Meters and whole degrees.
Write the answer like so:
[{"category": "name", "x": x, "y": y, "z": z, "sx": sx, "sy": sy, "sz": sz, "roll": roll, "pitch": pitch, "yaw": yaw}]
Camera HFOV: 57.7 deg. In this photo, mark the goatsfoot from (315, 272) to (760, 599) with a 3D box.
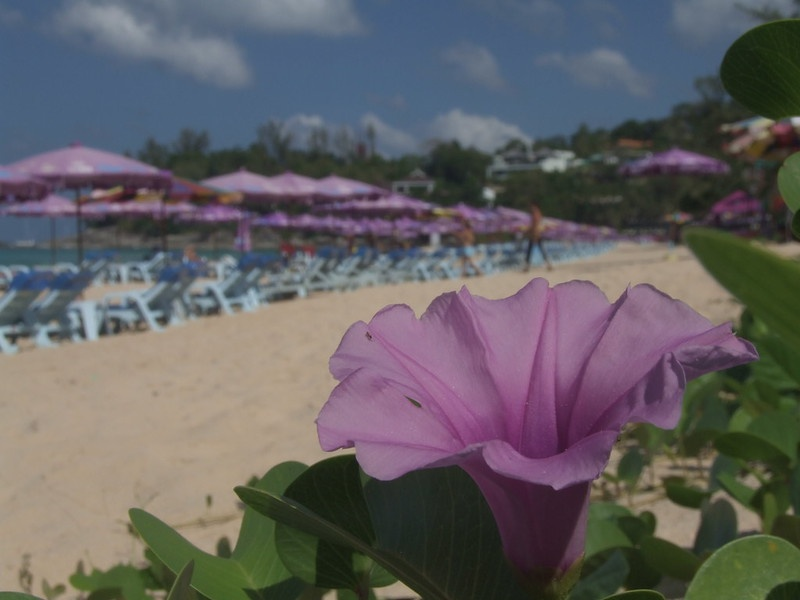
[{"category": "goatsfoot", "x": 0.110, "y": 0.129, "z": 0.708, "sx": 0.379, "sy": 0.275, "sz": 0.284, "roll": -2, "pitch": 11, "yaw": -8}]
